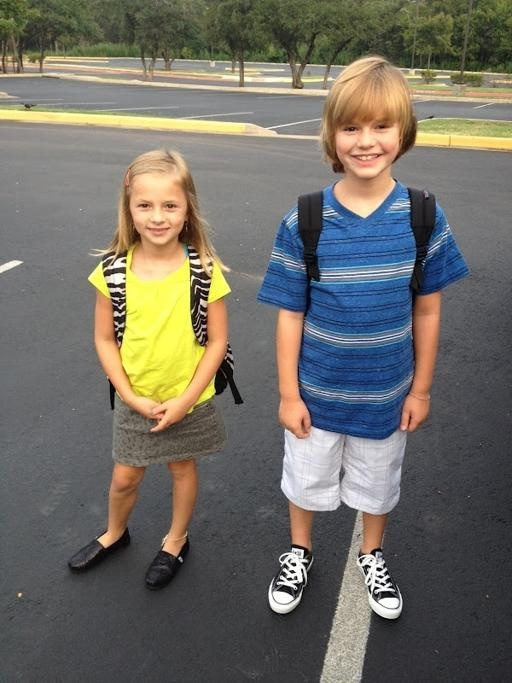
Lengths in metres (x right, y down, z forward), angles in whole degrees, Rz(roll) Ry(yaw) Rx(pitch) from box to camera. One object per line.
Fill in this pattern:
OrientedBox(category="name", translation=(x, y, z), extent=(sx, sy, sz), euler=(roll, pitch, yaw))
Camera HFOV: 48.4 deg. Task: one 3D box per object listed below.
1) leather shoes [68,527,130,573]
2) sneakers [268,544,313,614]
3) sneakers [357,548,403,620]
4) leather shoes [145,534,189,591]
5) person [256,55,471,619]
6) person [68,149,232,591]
OrientedBox(category="leather shoes", translation=(-0.589, 0.777, 2.146), extent=(0.074, 0.078, 0.226), euler=(17, 25, 38))
OrientedBox(category="sneakers", translation=(0.115, 0.812, 1.938), extent=(0.088, 0.089, 0.232), euler=(10, 11, 11))
OrientedBox(category="sneakers", translation=(0.414, 0.818, 1.912), extent=(0.083, 0.085, 0.219), euler=(-6, 17, -2))
OrientedBox(category="leather shoes", translation=(-0.319, 0.795, 2.070), extent=(0.092, 0.069, 0.264), euler=(15, 24, 13))
OrientedBox(category="person", translation=(0.310, -0.084, 1.672), extent=(0.600, 1.362, 0.252), euler=(-5, 23, -1))
OrientedBox(category="person", translation=(-0.364, 0.137, 1.900), extent=(0.601, 1.441, 0.428), euler=(-8, 23, -7))
